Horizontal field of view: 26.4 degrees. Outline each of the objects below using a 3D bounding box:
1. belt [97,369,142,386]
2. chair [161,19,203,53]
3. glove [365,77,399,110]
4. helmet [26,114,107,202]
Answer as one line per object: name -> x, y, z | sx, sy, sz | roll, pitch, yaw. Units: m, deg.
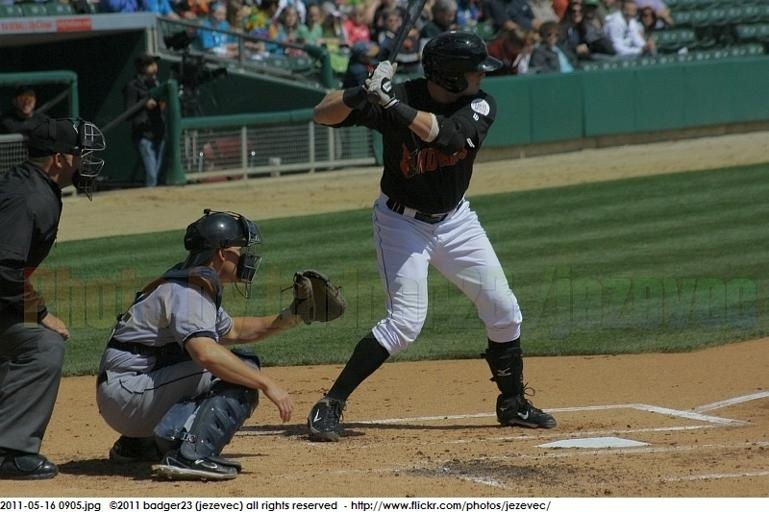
belt -> -2.130, 0.982, 13.243 | 0.271, 0.127, 0.141 | 7, 7, 2
chair -> -2.475, -2.639, 20.006 | 0.468, 0.242, 0.179 | -16, -13, 31
glove -> -0.015, -1.319, 13.407 | 0.266, 0.240, 0.186 | -6, 9, -23
helmet -> -2.590, -0.817, 13.459 | 0.639, 0.594, 0.468 | 1, 7, -2
